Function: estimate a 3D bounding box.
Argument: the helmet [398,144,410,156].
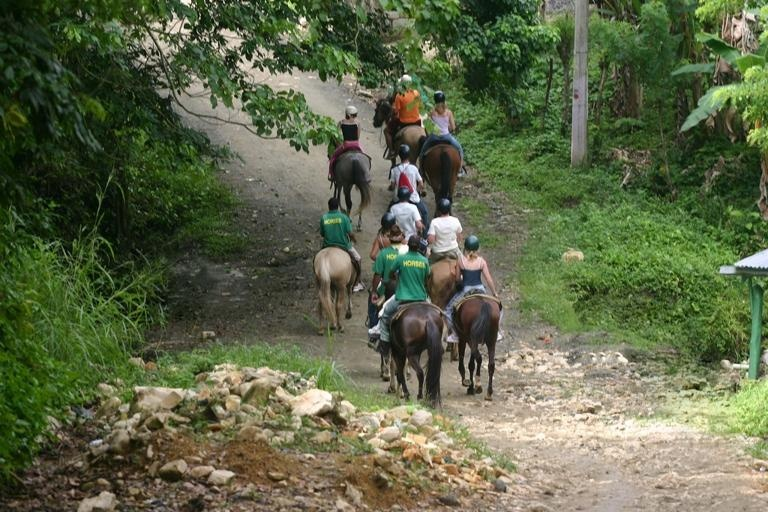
[{"bbox_3d":[0.448,-2.485,23.164,0.207,0.319,0.315,4,49,-1],"label":"helmet"}]

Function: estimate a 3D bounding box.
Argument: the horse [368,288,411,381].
[{"bbox_3d":[0.121,1.500,19.335,0.439,1.673,1.247,4,-20,3],"label":"horse"}]

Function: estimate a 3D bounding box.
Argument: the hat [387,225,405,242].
[{"bbox_3d":[0.225,-0.469,19.700,0.150,0.239,0.324,27,30,-35],"label":"hat"}]

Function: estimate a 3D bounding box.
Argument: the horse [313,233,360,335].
[{"bbox_3d":[-1.029,0.699,21.571,0.880,1.850,1.716,-3,9,-3],"label":"horse"}]

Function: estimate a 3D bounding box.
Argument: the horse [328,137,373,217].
[{"bbox_3d":[-0.921,-1.875,25.623,0.894,2.245,3.146,-2,5,-10],"label":"horse"}]

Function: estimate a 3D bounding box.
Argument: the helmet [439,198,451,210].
[{"bbox_3d":[1.260,-1.074,21.007,0.196,0.222,0.251,2,18,0],"label":"helmet"}]

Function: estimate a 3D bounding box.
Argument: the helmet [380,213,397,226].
[{"bbox_3d":[0.074,-0.758,20.491,0.204,0.298,0.293,12,44,10],"label":"helmet"}]

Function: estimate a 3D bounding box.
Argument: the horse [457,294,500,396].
[{"bbox_3d":[1.732,1.715,19.522,0.921,1.962,0.607,5,11,42],"label":"horse"}]

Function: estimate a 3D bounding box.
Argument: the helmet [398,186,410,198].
[{"bbox_3d":[0.406,-1.362,21.391,0.187,0.249,0.248,1,8,-2],"label":"helmet"}]

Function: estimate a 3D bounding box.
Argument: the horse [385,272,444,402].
[{"bbox_3d":[0.659,1.773,18.713,0.692,1.789,1.078,-8,10,-34],"label":"horse"}]

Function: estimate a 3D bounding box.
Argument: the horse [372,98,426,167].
[{"bbox_3d":[0.465,-3.213,26.933,2.209,1.445,0.679,27,29,35],"label":"horse"}]

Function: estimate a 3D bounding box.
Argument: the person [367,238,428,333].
[{"bbox_3d":[0.342,0.429,19.144,0.709,1.486,2.375,2,15,-1],"label":"person"}]

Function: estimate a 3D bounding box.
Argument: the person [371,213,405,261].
[{"bbox_3d":[0.091,-0.366,20.618,0.614,0.804,1.682,9,-21,0],"label":"person"}]

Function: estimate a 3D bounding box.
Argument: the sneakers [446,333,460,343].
[{"bbox_3d":[1.349,1.643,20.101,0.188,0.193,0.327,1,-6,4],"label":"sneakers"}]

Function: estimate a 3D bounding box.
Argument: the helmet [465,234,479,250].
[{"bbox_3d":[1.727,-0.264,19.619,0.250,0.327,0.261,7,-3,-13],"label":"helmet"}]
